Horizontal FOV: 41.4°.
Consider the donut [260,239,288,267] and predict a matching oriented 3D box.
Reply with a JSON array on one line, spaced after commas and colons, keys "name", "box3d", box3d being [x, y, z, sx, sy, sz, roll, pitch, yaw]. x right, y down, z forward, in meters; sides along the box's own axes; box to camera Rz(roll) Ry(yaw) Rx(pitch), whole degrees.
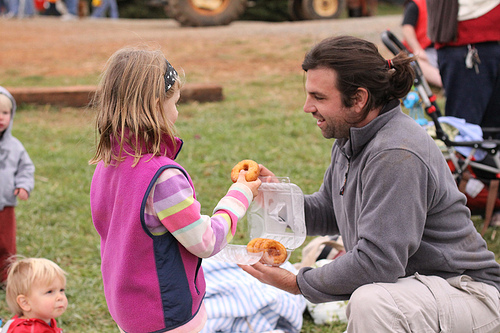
[{"name": "donut", "box3d": [0.210, 0.687, 5.361, 0.250, 0.095, 0.290, -2, -22, 2]}]

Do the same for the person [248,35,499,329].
[{"name": "person", "box3d": [1.087, 0.124, 5.063, 1.576, 2.165, 0.805, 8, 15, 25]}]

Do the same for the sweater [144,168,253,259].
[{"name": "sweater", "box3d": [-0.363, 0.319, 4.900, 0.818, 0.649, 0.308, -9, 17, -38]}]

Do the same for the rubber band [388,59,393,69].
[{"name": "rubber band", "box3d": [1.091, -0.794, 5.134, 0.039, 0.067, 0.032, -10, 18, -39]}]

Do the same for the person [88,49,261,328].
[{"name": "person", "box3d": [-0.647, 0.181, 4.953, 1.130, 2.053, 0.601, 1, 14, -4]}]

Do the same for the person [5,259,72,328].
[{"name": "person", "box3d": [-1.804, 1.125, 5.676, 0.491, 0.759, 0.783, -2, 14, -15]}]

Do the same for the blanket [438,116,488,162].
[{"name": "blanket", "box3d": [2.167, -0.303, 6.670, 0.509, 0.371, 0.169, 30, 45, 18]}]
